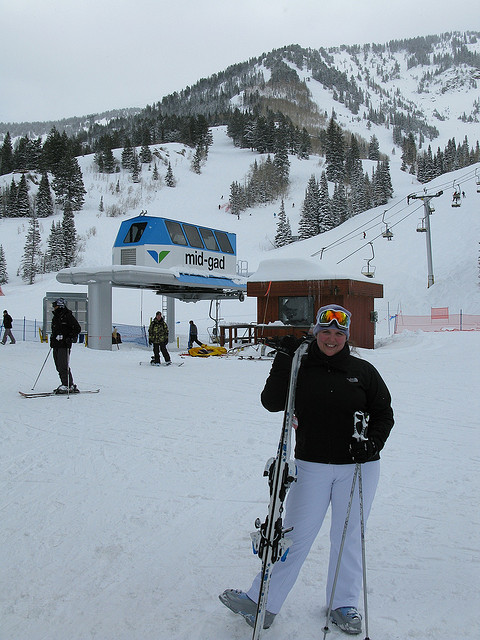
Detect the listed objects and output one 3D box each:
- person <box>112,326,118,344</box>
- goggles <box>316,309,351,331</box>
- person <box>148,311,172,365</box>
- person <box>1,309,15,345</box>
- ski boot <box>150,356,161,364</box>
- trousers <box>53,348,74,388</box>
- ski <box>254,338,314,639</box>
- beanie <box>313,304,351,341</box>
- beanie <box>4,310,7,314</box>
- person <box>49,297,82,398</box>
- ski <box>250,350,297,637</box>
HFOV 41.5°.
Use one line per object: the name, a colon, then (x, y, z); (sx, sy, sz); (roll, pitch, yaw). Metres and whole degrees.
person: (-5.186, 0.671, 26.297); (0.357, 0.544, 0.804); (5, 15, -8)
goggles: (0.559, 0.005, 3.816); (0.193, 0.127, 0.120); (-1, 3, 5)
person: (-2.204, 0.505, 17.556); (0.593, 1.440, 1.464); (-2, 3, -7)
person: (-8.921, 0.314, 24.311); (0.475, 1.292, 1.721); (-2, 3, -20)
ski boot: (-2.258, 1.085, 16.971); (0.254, 0.207, 0.165); (-1, 3, 7)
trousers: (-3.328, 0.914, 11.938); (0.340, 0.789, 0.448); (-2, 3, -12)
ski: (0.233, 0.950, 3.640); (0.239, 1.811, 0.249); (12, -14, -3)
beanie: (0.551, -0.015, 3.873); (0.170, 0.264, 0.091); (3, 6, 12)
beanie: (-9.283, -0.282, 25.078); (0.121, 0.156, 0.162); (0, 6, 6)
person: (-3.291, 0.546, 11.906); (0.510, 1.718, 0.448); (-1, 3, -5)
ski: (0.180, 0.937, 3.634); (0.169, 1.562, 0.106); (9, -18, 7)
